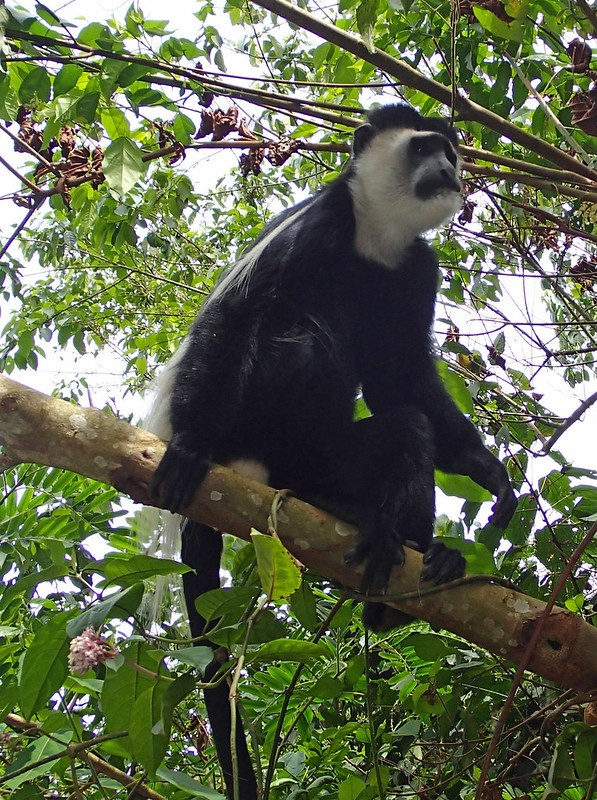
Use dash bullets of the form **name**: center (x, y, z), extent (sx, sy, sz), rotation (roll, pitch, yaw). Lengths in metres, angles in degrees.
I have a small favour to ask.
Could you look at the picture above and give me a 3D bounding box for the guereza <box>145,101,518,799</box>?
- **guereza**: center (0.244, -0.264, 2.573), extent (0.860, 1.861, 0.940), rotation (41, -60, -19)
